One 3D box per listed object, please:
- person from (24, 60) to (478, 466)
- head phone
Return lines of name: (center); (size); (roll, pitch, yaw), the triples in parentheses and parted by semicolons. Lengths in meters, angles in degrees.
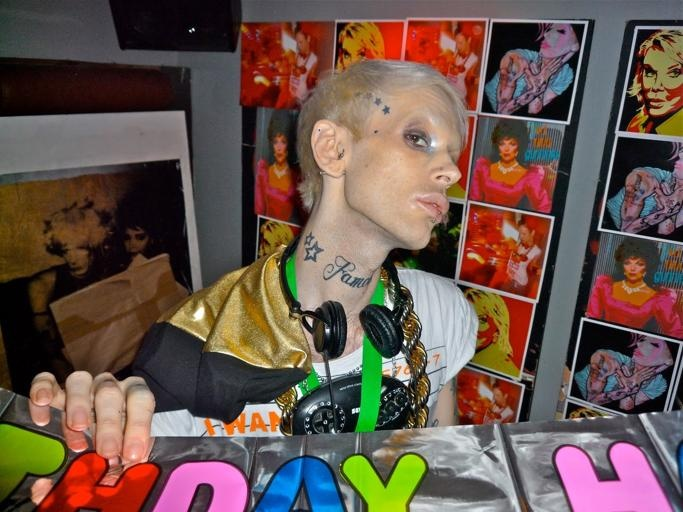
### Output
person: (-0.291, -0.003, 1.485); (1.095, 1.299, 0.634); (17, -4, -23)
head phone: (0.032, 0.122, 1.233); (0.281, 0.113, 0.363); (2, 42, -14)
